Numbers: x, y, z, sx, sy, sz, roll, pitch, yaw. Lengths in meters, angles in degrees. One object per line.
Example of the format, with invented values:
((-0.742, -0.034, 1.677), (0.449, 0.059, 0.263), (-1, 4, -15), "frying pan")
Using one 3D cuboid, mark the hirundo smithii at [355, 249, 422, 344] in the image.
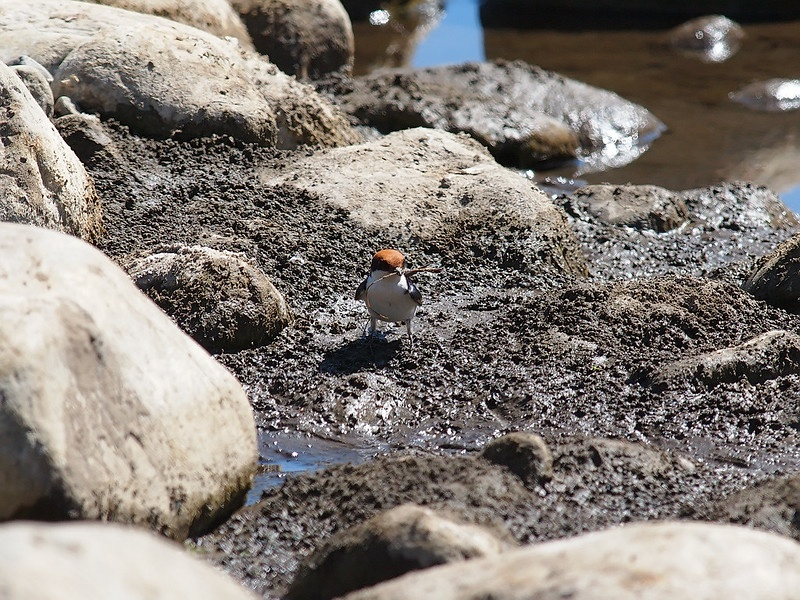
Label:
((-0.054, -0.053, 10.683), (0.493, 0.647, 0.696), (6, 10, 6), "hirundo smithii")
